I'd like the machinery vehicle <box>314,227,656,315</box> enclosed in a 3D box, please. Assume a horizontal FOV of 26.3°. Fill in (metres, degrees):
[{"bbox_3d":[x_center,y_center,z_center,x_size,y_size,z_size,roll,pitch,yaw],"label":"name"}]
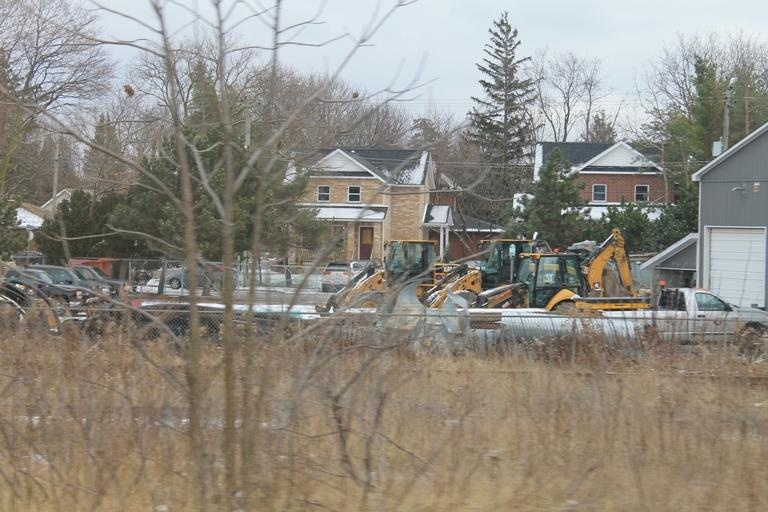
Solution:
[{"bbox_3d":[2.539,0.673,47.340,10.157,3.627,3.360,1,-2,-5],"label":"machinery vehicle"}]
